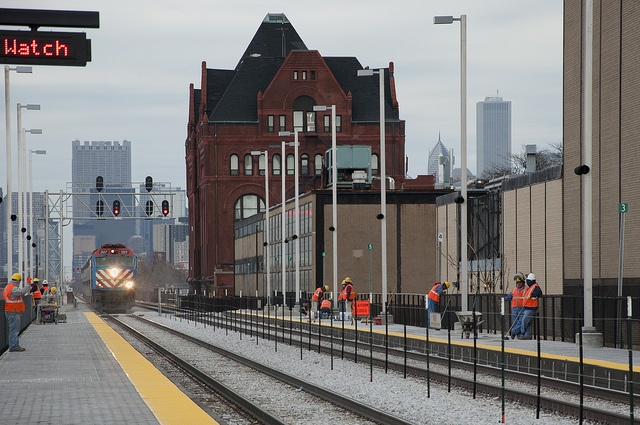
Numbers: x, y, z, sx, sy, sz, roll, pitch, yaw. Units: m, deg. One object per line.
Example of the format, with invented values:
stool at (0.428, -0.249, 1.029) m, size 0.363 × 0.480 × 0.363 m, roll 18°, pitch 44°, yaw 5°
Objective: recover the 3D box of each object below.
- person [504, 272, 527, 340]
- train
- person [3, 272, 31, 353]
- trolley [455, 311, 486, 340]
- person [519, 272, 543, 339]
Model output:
person at (7.169, 3.291, 36.918) m, size 0.913 × 3.021 × 1.122 m, roll 2°, pitch 2°, yaw 12°
train at (-16.634, 5.108, 79.556) m, size 3.280 × 5.037 × 5.681 m, roll -1°, pitch -4°, yaw -21°
person at (-11.178, 3.691, 37.329) m, size 1.169 × 2.917 × 0.967 m, roll -3°, pitch -1°, yaw -31°
trolley at (5.518, 4.083, 36.625) m, size 1.173 × 0.857 × 1.898 m, roll 0°, pitch -8°, yaw 2°
person at (7.413, 3.344, 35.998) m, size 0.773 × 2.362 × 0.968 m, roll 2°, pitch 1°, yaw -4°
